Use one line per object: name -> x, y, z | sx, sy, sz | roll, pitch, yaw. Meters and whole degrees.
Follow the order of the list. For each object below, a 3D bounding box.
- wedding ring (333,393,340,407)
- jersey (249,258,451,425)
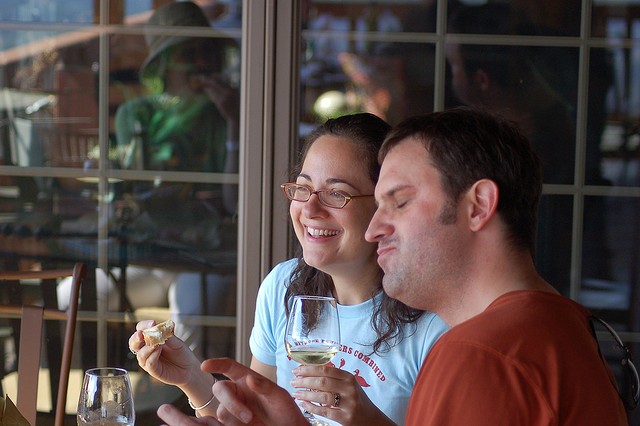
wedding ring -> 0.075, 0.815, 4.203 | 0.015, 0.046, 0.032 | 5, -5, -34
jersey -> 0.255, 0.621, 4.903 | 1.132, 1.149, 0.595 | 1, -3, 10
